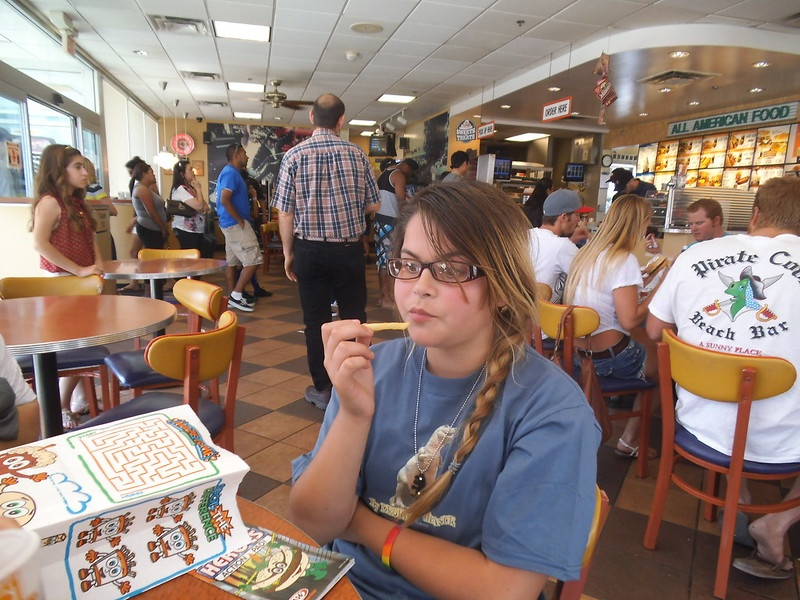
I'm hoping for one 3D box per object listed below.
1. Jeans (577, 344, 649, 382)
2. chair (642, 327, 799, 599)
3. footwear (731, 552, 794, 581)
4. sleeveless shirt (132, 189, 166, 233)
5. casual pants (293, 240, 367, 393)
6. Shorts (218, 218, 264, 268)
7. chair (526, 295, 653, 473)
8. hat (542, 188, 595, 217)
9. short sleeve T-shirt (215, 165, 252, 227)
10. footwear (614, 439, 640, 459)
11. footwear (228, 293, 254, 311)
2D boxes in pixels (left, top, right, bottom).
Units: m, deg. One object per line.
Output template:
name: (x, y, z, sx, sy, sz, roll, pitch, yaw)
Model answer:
Jeans: (1.235, 0.344, 2.877, 0.242, 0.144, 0.319, -1, 1, -21)
chair: (1.304, 0.643, 2.076, 0.508, 0.965, 0.523, 1, 14, -35)
footwear: (1.482, 1.079, 2.072, 0.211, 0.060, 0.096, -2, 0, -13)
sleeveless shirt: (-3.335, -1.248, 6.759, 0.394, 0.637, 0.472, -11, 25, -24)
casual pants: (-0.451, 0.098, 3.428, 0.461, 1.092, 0.309, -3, 10, -8)
Shorts: (-1.882, -0.662, 5.938, 0.532, 0.493, 0.319, 3, 16, 43)
chair: (1.063, 0.482, 2.883, 0.663, 0.927, 0.694, -3, 2, -44)
hat: (1.317, -0.749, 3.927, 0.335, 0.181, 0.217, -14, 21, 1)
short sleeve T-shirt: (-1.924, -1.182, 5.825, 0.364, 0.672, 0.616, -3, 12, -19)
footwear: (1.307, 0.859, 2.903, 0.132, 0.055, 0.068, -3, 3, 12)
footwear: (-1.840, 0.031, 5.829, 0.272, 0.113, 0.103, 24, 8, -6)
